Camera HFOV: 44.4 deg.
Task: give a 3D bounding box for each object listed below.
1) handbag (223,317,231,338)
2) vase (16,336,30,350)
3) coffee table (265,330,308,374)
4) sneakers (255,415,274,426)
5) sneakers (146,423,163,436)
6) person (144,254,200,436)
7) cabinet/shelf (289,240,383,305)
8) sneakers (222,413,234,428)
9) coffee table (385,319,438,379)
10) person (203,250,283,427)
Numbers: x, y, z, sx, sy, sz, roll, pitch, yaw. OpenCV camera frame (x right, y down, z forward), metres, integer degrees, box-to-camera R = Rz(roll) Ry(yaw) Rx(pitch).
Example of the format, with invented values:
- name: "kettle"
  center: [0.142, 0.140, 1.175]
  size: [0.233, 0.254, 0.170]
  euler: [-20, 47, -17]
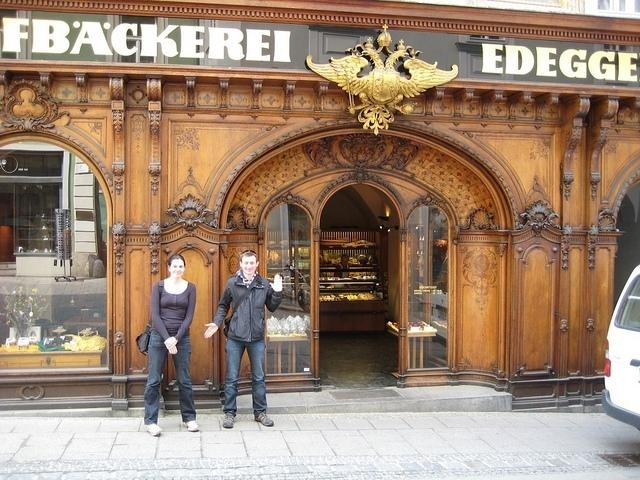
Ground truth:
- name: "handbag"
  center: [-1.381, 1.357, 11.522]
  size: [0.077, 0.267, 0.246]
  euler: [0, -2, -19]
- name: "vase"
  center: [-4.503, 1.658, 11.948]
  size: [0.153, 0.236, 0.072]
  euler: [4, -6, -11]
- name: "coffee table"
  center: [-0.648, 1.883, 13.277]
  size: [0.377, 0.699, 0.731]
  euler: [3, 14, -7]
- name: "sneakers"
  center: [-0.833, 2.765, 11.662]
  size: [0.123, 0.142, 0.309]
  euler: [2, -5, -39]
- name: "sneakers"
  center: [-2.360, 2.782, 11.166]
  size: [0.219, 0.171, 0.324]
  euler: [0, -2, -13]
- name: "person"
  center: [-2.107, 1.561, 11.168]
  size: [0.762, 2.605, 0.635]
  euler: [0, -2, -13]
- name: "cabinet/shelf"
  center: [0.305, 0.778, 15.827]
  size: [1.391, 1.389, 0.544]
  euler: [1, -42, -3]
- name: "sneakers"
  center: [-1.349, 2.732, 11.507]
  size: [0.175, 0.219, 0.246]
  euler: [0, -2, -6]
- name: "coffee table"
  center: [1.569, 1.960, 13.791]
  size: [0.822, 1.124, 0.899]
  euler: [1, -5, 2]
- name: "person"
  center: [-1.087, 1.536, 11.500]
  size: [0.944, 2.632, 0.439]
  euler: [0, -2, -9]
